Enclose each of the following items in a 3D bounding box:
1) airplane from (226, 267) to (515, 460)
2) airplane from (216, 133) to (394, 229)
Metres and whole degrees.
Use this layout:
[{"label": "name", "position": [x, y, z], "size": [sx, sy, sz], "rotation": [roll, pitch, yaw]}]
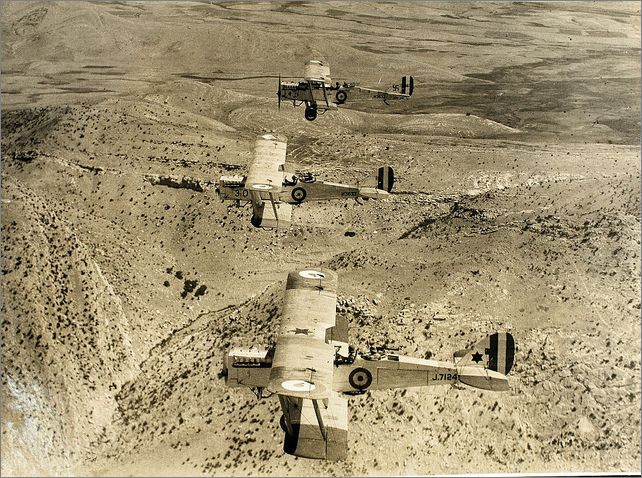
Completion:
[{"label": "airplane", "position": [2.559, 8.412, 53.448], "size": [16.139, 5.991, 10.621], "rotation": [19, 66, 9]}, {"label": "airplane", "position": [-1.813, -3.212, 62.024], "size": [7.985, 2.866, 8.236], "rotation": [8, 34, -7]}]
